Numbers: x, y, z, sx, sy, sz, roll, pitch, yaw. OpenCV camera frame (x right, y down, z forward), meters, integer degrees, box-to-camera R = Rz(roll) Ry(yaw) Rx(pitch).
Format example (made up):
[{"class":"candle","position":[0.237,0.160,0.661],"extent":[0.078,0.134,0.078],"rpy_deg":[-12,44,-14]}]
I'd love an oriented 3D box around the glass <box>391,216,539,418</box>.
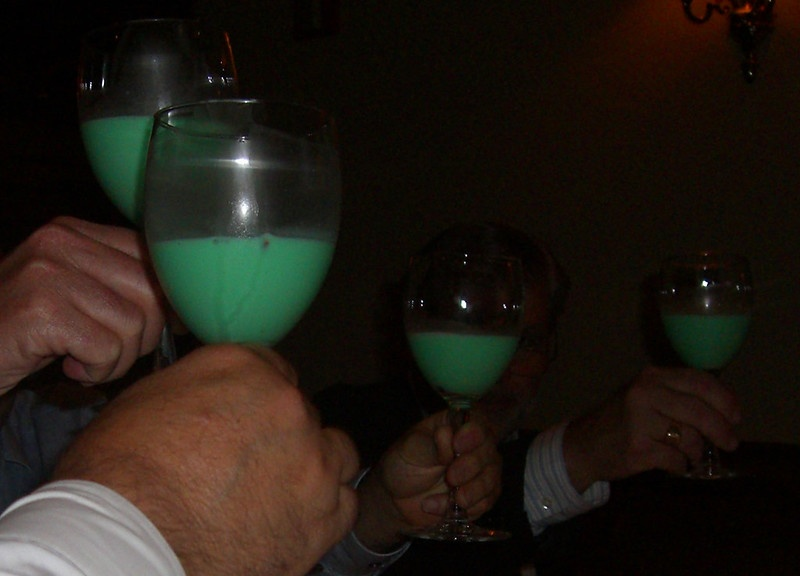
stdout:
[{"class":"glass","position":[0.077,0.057,0.910],"extent":[0.153,0.195,0.110],"rpy_deg":[5,35,0]}]

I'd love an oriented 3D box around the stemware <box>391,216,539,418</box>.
[{"class":"stemware","position":[0.077,0.057,0.910],"extent":[0.153,0.195,0.110],"rpy_deg":[5,35,0]}]

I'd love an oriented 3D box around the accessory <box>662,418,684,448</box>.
[{"class":"accessory","position":[0.475,0.252,1.223],"extent":[0.031,0.042,0.015],"rpy_deg":[3,8,15]}]

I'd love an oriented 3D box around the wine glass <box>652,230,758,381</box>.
[{"class":"wine glass","position":[0.535,0.031,1.246],"extent":[0.198,0.308,0.188],"rpy_deg":[-3,1,22]}]

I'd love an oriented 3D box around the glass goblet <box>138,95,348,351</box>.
[{"class":"glass goblet","position":[-0.154,-0.063,0.692],"extent":[0.180,0.220,0.126],"rpy_deg":[-1,35,-9]}]

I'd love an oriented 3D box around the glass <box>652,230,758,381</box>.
[{"class":"glass","position":[0.535,0.027,1.245],"extent":[0.198,0.308,0.188],"rpy_deg":[-3,1,22]}]

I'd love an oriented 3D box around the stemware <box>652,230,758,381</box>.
[{"class":"stemware","position":[0.529,0.027,1.246],"extent":[0.198,0.308,0.188],"rpy_deg":[-3,1,22]}]

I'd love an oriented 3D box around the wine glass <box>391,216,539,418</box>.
[{"class":"wine glass","position":[0.077,0.057,0.910],"extent":[0.153,0.195,0.110],"rpy_deg":[5,35,0]}]

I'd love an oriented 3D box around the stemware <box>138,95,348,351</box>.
[{"class":"stemware","position":[-0.154,-0.063,0.692],"extent":[0.180,0.220,0.126],"rpy_deg":[-1,35,-9]}]

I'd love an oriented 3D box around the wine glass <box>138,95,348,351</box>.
[{"class":"wine glass","position":[-0.154,-0.063,0.692],"extent":[0.180,0.220,0.126],"rpy_deg":[-1,35,-9]}]

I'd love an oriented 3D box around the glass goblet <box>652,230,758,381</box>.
[{"class":"glass goblet","position":[0.533,0.023,1.247],"extent":[0.198,0.308,0.188],"rpy_deg":[-3,1,22]}]

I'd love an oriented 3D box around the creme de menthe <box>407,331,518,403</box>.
[{"class":"creme de menthe","position":[0.095,0.116,0.951],"extent":[0.098,0.159,0.100],"rpy_deg":[2,-9,30]}]

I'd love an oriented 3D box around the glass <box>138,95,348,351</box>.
[{"class":"glass","position":[-0.154,-0.063,0.692],"extent":[0.180,0.220,0.126],"rpy_deg":[-1,35,-9]}]

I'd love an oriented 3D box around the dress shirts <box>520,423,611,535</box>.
[{"class":"dress shirts","position":[0.313,0.391,1.443],"extent":[0.151,0.205,0.163],"rpy_deg":[20,24,11]}]

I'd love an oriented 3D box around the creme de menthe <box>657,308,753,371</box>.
[{"class":"creme de menthe","position":[0.537,0.091,1.240],"extent":[0.111,0.079,0.111],"rpy_deg":[-1,-2,-9]}]
